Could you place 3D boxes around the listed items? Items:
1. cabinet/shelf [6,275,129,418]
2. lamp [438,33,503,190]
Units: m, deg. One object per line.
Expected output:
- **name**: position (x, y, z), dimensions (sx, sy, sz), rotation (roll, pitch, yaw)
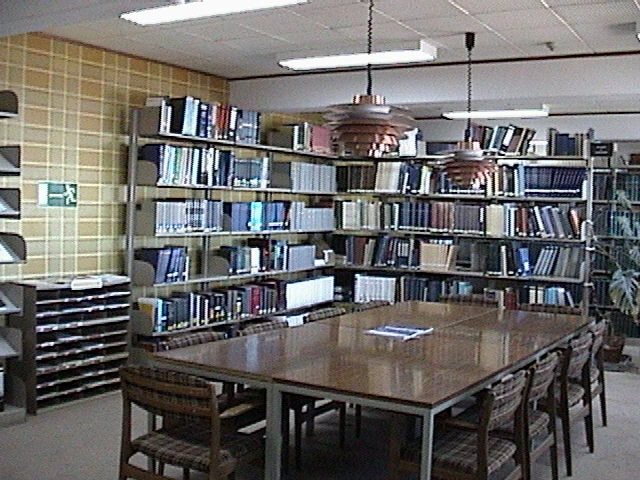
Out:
- **cabinet/shelf**: position (-2.334, 0.962, 4.752), dimensions (0.531, 1.156, 1.486), rotation (5, 4, 33)
- **lamp**: position (1.504, -1.237, 5.286), dimensions (0.460, 1.438, 1.631), rotation (2, 4, 15)
